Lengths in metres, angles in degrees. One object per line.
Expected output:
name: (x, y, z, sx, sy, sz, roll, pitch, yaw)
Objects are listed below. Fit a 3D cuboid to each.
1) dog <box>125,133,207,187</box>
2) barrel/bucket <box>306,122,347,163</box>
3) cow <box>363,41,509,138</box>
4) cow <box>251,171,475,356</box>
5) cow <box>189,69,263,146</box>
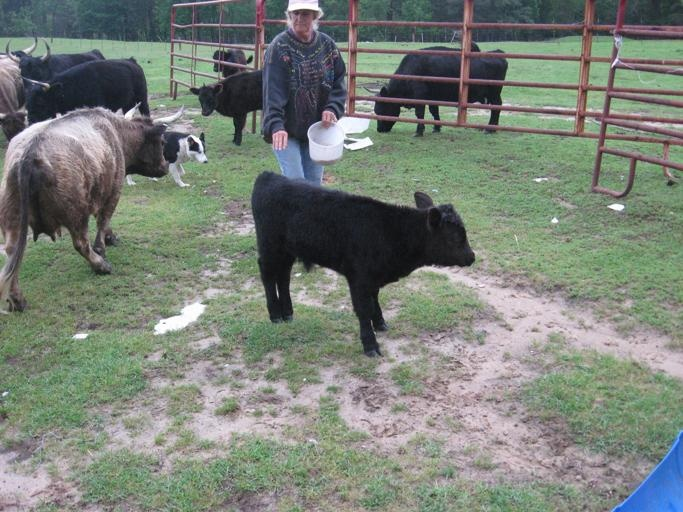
dog: (-2.726, -1.472, 9.194, 1.257, 0.849, 0.468, 3, 6, -5)
barrel/bucket: (-0.136, -1.037, 5.467, 0.349, 0.277, 0.371, 0, 46, 0)
cow: (1.881, -3.169, 11.590, 2.627, 1.615, 0.856, -1, 17, 11)
cow: (0.169, 0.072, 5.169, 1.875, 1.321, 0.715, 8, 19, 5)
cow: (-1.828, -2.745, 11.037, 0.516, 1.131, 2.029, 16, 26, 35)
